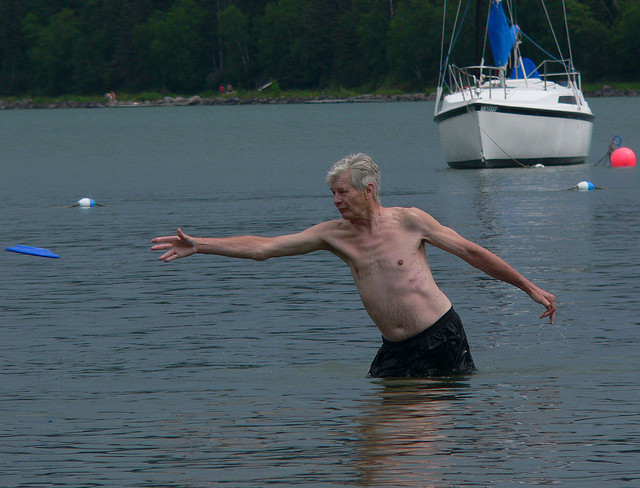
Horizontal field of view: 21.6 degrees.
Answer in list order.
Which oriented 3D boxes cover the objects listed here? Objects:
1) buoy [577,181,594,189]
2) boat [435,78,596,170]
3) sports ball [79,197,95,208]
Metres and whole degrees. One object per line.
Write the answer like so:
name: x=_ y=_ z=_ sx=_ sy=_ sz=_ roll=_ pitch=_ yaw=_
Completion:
buoy: x=12.122 y=-2.676 z=74.781 sx=0.754 sy=0.281 sz=0.491 roll=-10 pitch=14 yaw=-31
boat: x=10.537 y=-5.630 z=83.858 sx=7.546 sy=3.277 sz=11.741 roll=-3 pitch=-5 yaw=30
sports ball: x=-10.379 y=-1.867 z=73.263 sx=0.530 sy=0.271 sz=0.434 roll=2 pitch=4 yaw=-4
